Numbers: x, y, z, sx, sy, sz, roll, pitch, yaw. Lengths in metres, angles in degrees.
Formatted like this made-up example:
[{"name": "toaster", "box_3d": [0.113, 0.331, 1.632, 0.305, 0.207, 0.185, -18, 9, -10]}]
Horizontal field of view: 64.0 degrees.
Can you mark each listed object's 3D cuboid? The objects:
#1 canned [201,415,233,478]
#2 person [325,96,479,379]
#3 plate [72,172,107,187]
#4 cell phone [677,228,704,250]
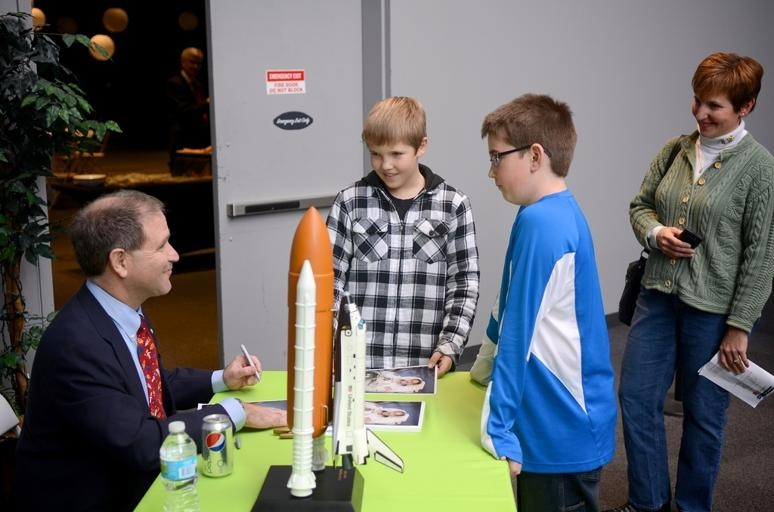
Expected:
[{"name": "canned", "box_3d": [-0.601, 0.655, 2.187, 0.122, 0.205, 0.135, -5, 9, -16]}, {"name": "person", "box_3d": [0.055, -0.106, 2.928, 0.728, 1.269, 0.453, -1, 8, 8]}, {"name": "plate", "box_3d": [-4.109, -1.031, 8.542, 0.387, 0.176, 0.590, -7, 9, -27]}, {"name": "cell phone", "box_3d": [1.482, -0.079, 3.029, 0.116, 0.095, 0.059, 0, 9, 16]}]
